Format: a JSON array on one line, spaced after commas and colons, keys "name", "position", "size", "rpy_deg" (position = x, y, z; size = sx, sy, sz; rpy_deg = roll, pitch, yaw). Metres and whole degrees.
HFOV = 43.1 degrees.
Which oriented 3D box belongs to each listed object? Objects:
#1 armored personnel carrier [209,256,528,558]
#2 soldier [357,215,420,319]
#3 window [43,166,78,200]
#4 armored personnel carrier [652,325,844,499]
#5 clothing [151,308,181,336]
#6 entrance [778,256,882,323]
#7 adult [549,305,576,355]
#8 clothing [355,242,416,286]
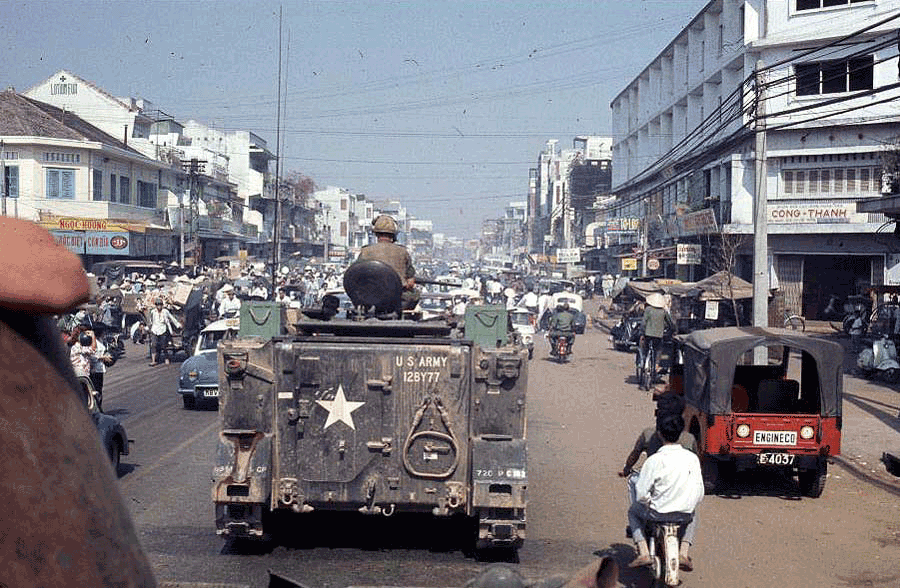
[{"name": "armored personnel carrier", "position": [-1.716, 2.600, 26.486], "size": [7.051, 6.228, 10.080], "rpy_deg": [1, -1, -9]}, {"name": "soldier", "position": [-1.265, -0.618, 24.601], "size": [1.251, 2.059, 1.292], "rpy_deg": [-1, -4, -8]}, {"name": "window", "position": [-18.863, -5.435, 55.053], "size": [1.373, 1.425, 0.195], "rpy_deg": [-1, 2, -32]}, {"name": "armored personnel carrier", "position": [6.932, 2.477, 26.159], "size": [2.842, 3.433, 5.228], "rpy_deg": [0, 6, 2]}, {"name": "clothing", "position": [-9.254, 0.900, 36.979], "size": [0.630, 1.023, 0.416], "rpy_deg": [-3, -24, 5]}, {"name": "entrance", "position": [15.748, -0.303, 47.592], "size": [4.008, 2.714, 0.726], "rpy_deg": [1, 2, 23]}, {"name": "adult", "position": [3.741, 1.247, 38.423], "size": [0.809, 1.915, 1.431], "rpy_deg": [0, 2, 5]}, {"name": "clothing", "position": [-1.312, -0.797, 24.244], "size": [1.378, 1.181, 0.779], "rpy_deg": [2, 8, -3]}]
